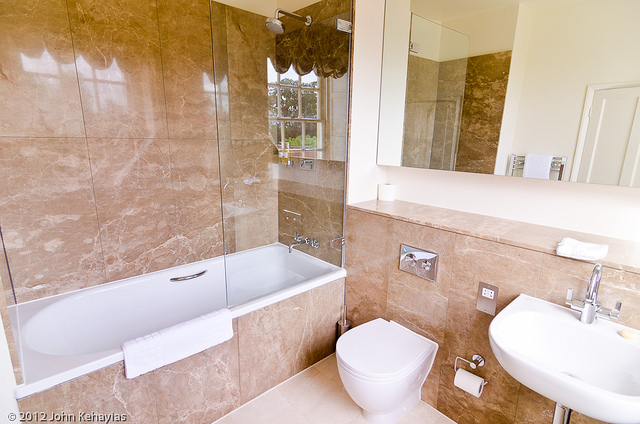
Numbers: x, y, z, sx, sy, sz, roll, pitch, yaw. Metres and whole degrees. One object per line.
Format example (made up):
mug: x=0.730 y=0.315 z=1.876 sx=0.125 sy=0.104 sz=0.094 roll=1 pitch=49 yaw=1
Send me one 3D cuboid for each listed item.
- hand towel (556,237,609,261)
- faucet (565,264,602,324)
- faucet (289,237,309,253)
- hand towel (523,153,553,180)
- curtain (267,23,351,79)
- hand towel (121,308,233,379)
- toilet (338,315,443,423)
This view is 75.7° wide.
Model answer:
hand towel: x=1.557 y=0.220 z=2.446 sx=0.305 sy=0.081 sz=0.209 roll=7 pitch=15 yaw=18
faucet: x=1.539 y=0.481 z=2.350 sx=0.209 sy=0.337 sz=0.167 roll=7 pitch=3 yaw=17
faucet: x=-0.179 y=0.265 z=3.300 sx=0.187 sy=0.072 sz=0.072 roll=-17 pitch=15 yaw=-34
hand towel: x=1.402 y=-0.297 z=2.669 sx=0.156 sy=0.159 sz=0.059 roll=6 pitch=13 yaw=28
curtain: x=-0.094 y=-1.171 z=3.003 sx=0.657 sy=0.351 sz=0.056 roll=-15 pitch=33 yaw=-33
hand towel: x=-0.948 y=0.884 z=2.728 sx=0.487 sy=0.160 sz=0.084 roll=-12 pitch=14 yaw=-34
toilet: x=0.472 y=1.117 z=2.898 sx=0.707 sy=0.503 sz=0.609 roll=-7 pitch=11 yaw=-41
